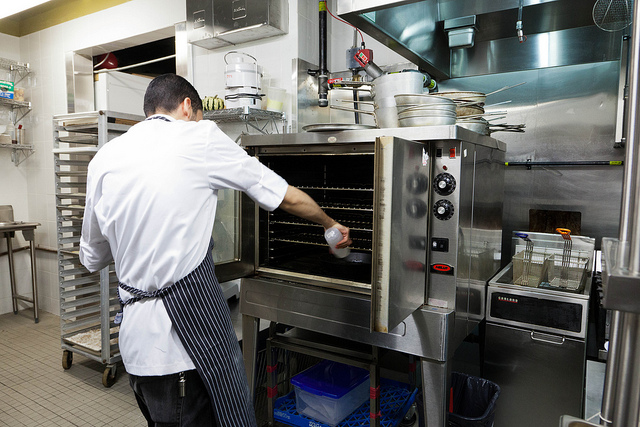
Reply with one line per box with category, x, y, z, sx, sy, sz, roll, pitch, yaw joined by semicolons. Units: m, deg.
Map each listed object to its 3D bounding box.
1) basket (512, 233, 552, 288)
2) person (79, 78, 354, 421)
basket;1.278;0.279;2.760;0.207;0.285;0.233;2;10;23
person;-0.638;0.180;2.309;1.158;1.729;0.474;-4;9;-11
